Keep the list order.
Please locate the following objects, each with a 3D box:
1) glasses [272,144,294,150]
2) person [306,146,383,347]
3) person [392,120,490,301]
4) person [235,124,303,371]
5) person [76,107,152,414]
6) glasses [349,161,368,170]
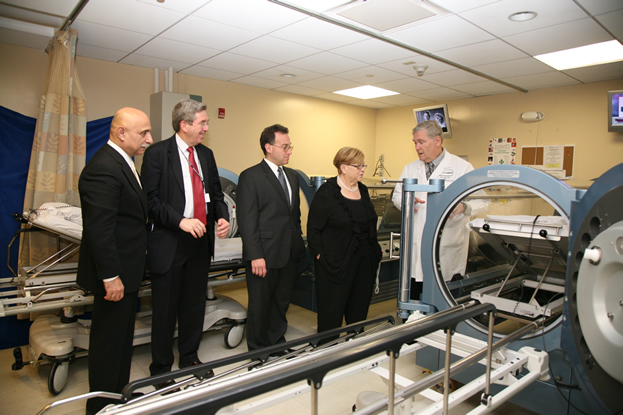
[{"bbox_3d":[-0.265,-0.572,3.717,0.103,0.066,0.247,3,4,36],"label":"glasses"},{"bbox_3d":[0.322,0.324,3.629,0.723,1.757,0.310,1,3,-2],"label":"person"},{"bbox_3d":[1.153,0.081,3.520,0.764,1.776,1.026,1,3,12],"label":"person"},{"bbox_3d":[-0.414,0.303,3.739,0.660,2.170,0.336,0,3,-12],"label":"person"},{"bbox_3d":[-1.546,0.369,2.978,0.521,2.258,0.299,-1,4,-32],"label":"person"},{"bbox_3d":[0.466,-0.377,3.605,0.105,0.070,0.220,3,4,37],"label":"glasses"}]
